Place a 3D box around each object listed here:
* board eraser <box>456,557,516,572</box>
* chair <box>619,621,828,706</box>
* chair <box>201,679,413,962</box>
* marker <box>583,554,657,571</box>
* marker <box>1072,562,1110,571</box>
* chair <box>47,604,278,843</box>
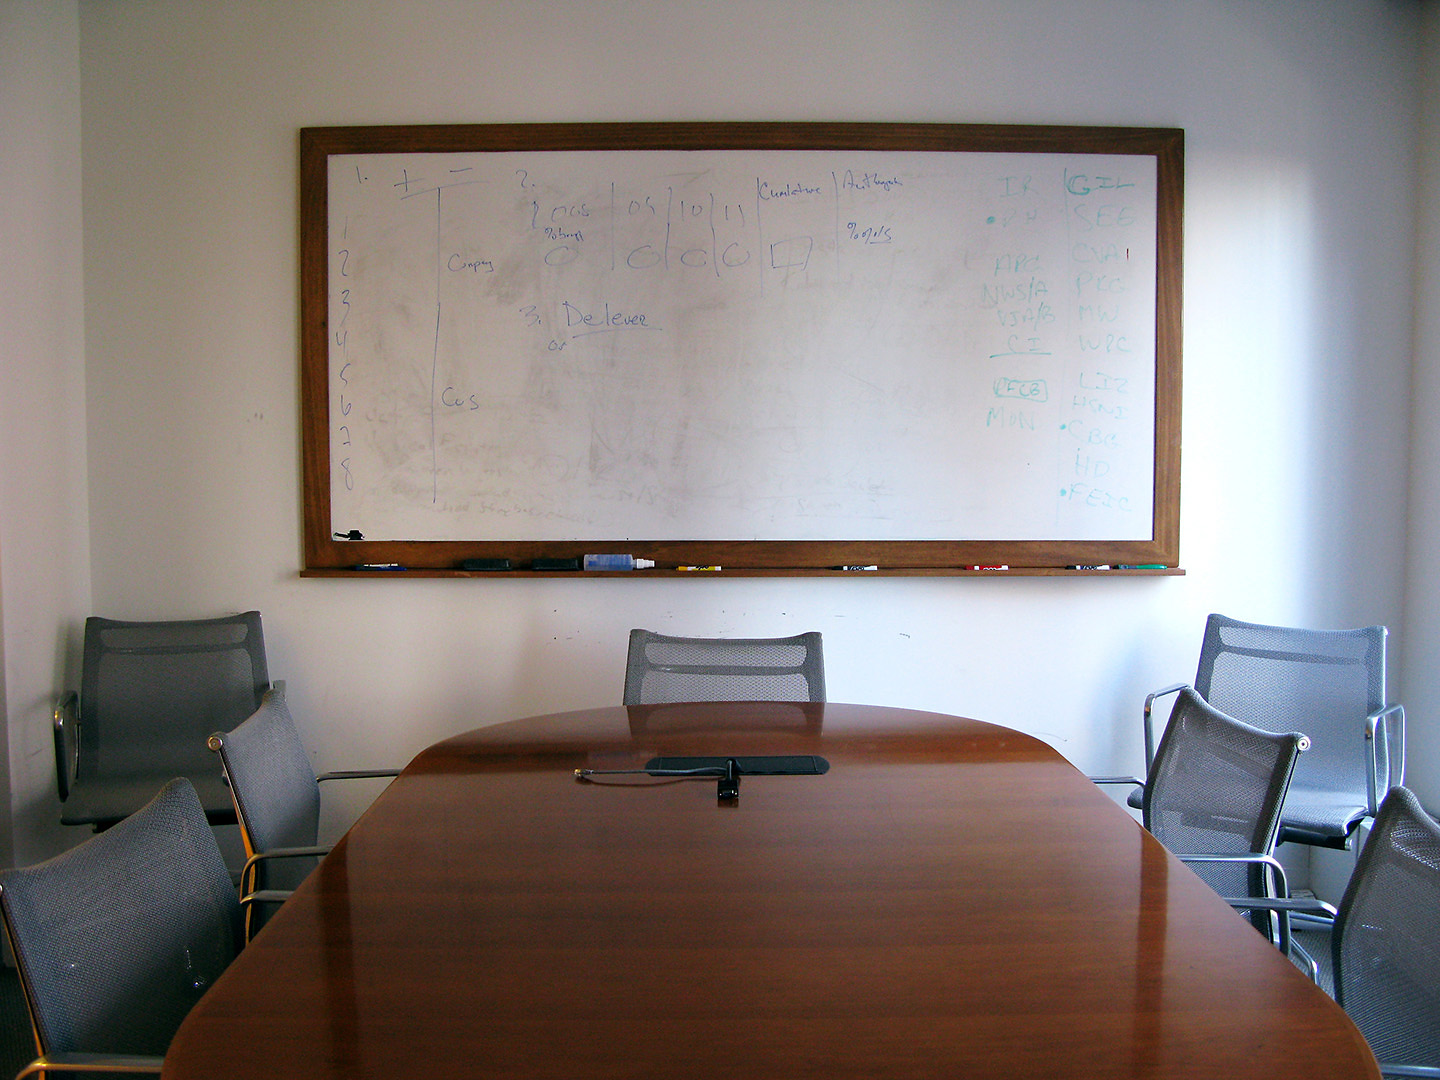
[{"bbox_3d":[-0.886,0.084,4.425,0.218,0.045,0.044,1,8,6],"label":"board eraser"},{"bbox_3d":[0.002,0.414,3.957,0.651,0.224,0.120,-1,8,-3],"label":"chair"},{"bbox_3d":[-1.233,0.731,3.358,0.550,0.837,0.593,0,4,1],"label":"chair"},{"bbox_3d":[-0.383,0.082,4.429,0.272,0.066,0.039,-1,8,-6],"label":"marker"},{"bbox_3d":[1.385,0.096,4.468,0.085,0.023,0.020,-4,-14,-5],"label":"marker"},{"bbox_3d":[-1.885,0.702,4.093,0.679,0.903,0.697,-2,1,-25],"label":"chair"}]
